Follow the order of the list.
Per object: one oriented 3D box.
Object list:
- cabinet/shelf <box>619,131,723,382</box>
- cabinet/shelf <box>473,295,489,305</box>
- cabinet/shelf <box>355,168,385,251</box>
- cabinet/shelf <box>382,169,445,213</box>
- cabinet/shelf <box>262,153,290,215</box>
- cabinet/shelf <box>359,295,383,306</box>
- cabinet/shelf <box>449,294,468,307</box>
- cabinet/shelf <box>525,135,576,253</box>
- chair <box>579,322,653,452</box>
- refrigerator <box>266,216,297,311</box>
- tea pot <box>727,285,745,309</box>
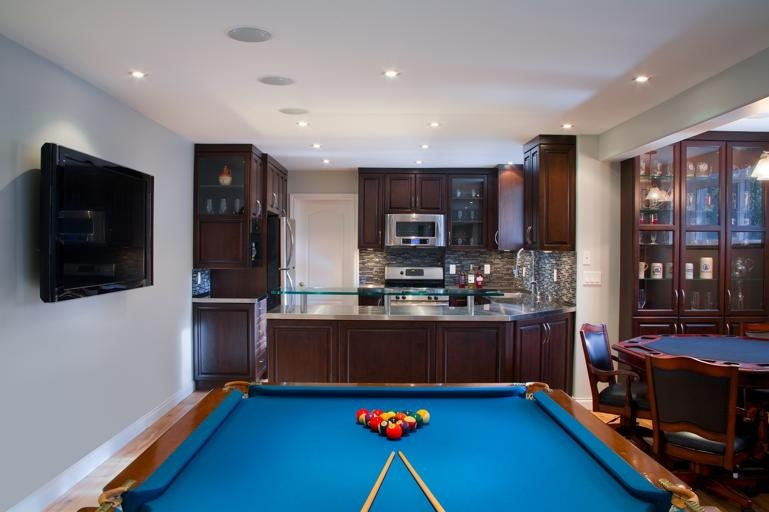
[{"bbox_3d":[2.854,-0.008,5.185,1.666,2.639,0.561,0,0,1],"label":"cabinet/shelf"},{"bbox_3d":[1.235,0.565,6.657,0.209,0.080,1.264,-3,-2,11],"label":"cabinet/shelf"},{"bbox_3d":[-0.202,-0.660,7.363,0.395,0.962,0.438,1,2,-1],"label":"cabinet/shelf"},{"bbox_3d":[0.435,-0.889,7.373,1.052,0.521,0.641,2,2,0],"label":"cabinet/shelf"},{"bbox_3d":[-1.454,-0.962,6.841,0.146,0.450,0.824,-1,0,0],"label":"cabinet/shelf"},{"bbox_3d":[-0.182,0.601,7.015,0.267,0.161,0.132,1,-1,6],"label":"cabinet/shelf"},{"bbox_3d":[0.973,0.613,7.079,0.239,0.093,0.266,-2,-2,2],"label":"cabinet/shelf"},{"bbox_3d":[1.812,-0.680,5.819,0.422,1.059,0.699,2,2,-4],"label":"cabinet/shelf"},{"bbox_3d":[2.121,1.134,4.682,0.572,1.004,0.603,4,5,-29],"label":"chair"},{"bbox_3d":[-1.371,0.067,6.794,0.479,1.291,0.622,3,4,-9],"label":"refrigerator"},{"bbox_3d":[3.721,0.453,5.512,0.196,0.219,0.070,-2,-2,-6],"label":"tea pot"}]
